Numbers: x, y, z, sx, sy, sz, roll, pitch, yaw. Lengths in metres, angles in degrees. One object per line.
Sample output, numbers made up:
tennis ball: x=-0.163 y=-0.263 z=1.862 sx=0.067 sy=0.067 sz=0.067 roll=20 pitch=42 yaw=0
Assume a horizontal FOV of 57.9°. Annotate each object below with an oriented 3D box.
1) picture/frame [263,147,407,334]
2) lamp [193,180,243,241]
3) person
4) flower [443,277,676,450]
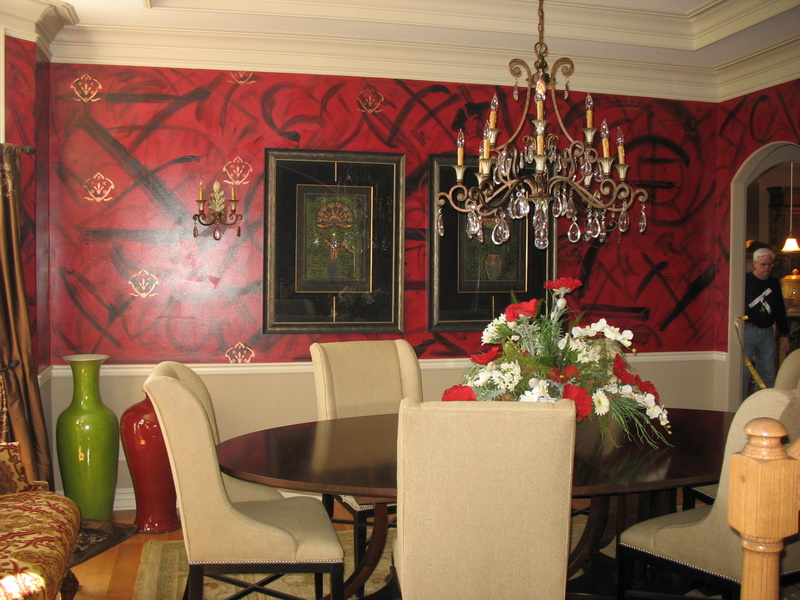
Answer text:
picture/frame: x=-0.514 y=-0.448 z=5.181 sx=1.168 sy=1.661 sz=0.077 roll=1 pitch=2 yaw=-8
lamp: x=-1.286 y=-0.628 z=5.038 sx=0.357 sy=0.473 sz=0.114 roll=0 pitch=12 yaw=-6
person: x=3.090 y=0.270 z=6.172 sx=0.429 sy=1.477 sz=0.436 roll=1 pitch=29 yaw=20
flower: x=0.715 y=0.352 z=3.520 sx=0.847 sy=0.831 sz=0.840 roll=8 pitch=0 yaw=-26
